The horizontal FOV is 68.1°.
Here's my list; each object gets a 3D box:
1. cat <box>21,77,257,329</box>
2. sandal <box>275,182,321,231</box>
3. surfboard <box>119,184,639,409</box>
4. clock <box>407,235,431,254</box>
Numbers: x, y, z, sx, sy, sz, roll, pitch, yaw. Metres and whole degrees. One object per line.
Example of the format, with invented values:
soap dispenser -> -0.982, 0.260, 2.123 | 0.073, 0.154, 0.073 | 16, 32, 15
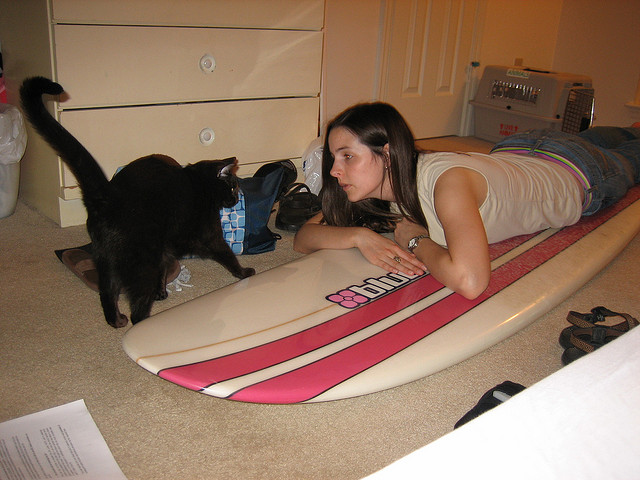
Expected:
cat -> -0.542, -0.107, 1.511 | 0.295, 0.743, 0.865 | 9, 16, 24
sandal -> -0.152, -0.163, 2.414 | 0.286, 0.252, 0.211 | 2, 11, -9
surfboard -> 0.406, 0.142, 1.596 | 2.009, 0.214, 0.582 | -15, 33, -39
clock -> 0.334, 0.009, 1.616 | 0.066, 0.024, 0.053 | -38, 33, -18
